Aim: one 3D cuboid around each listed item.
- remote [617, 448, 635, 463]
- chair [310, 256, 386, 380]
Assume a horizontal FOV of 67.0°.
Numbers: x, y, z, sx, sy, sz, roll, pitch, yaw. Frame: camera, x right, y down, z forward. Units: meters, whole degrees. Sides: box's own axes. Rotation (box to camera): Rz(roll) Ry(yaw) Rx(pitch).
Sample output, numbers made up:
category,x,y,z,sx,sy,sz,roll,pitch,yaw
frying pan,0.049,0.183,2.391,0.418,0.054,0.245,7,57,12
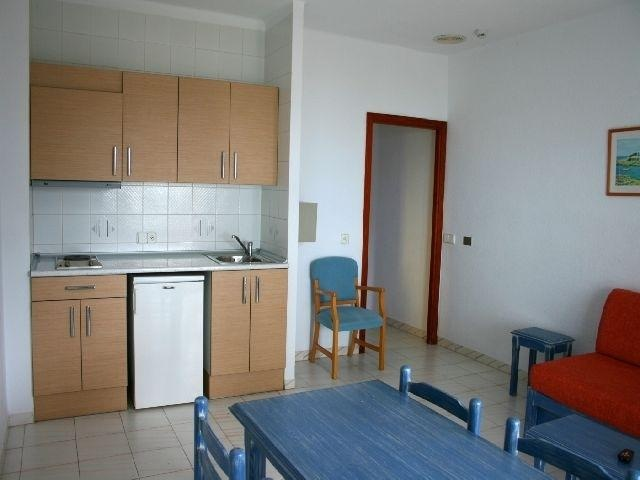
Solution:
category,x,y,z,sx,sy,sz,roll,pitch,yaw
remote,1.722,1.210,2.725,0.053,0.029,0.093,2,9,42
chair,0.281,0.743,4.914,0.718,1.119,0.666,-4,6,-25
